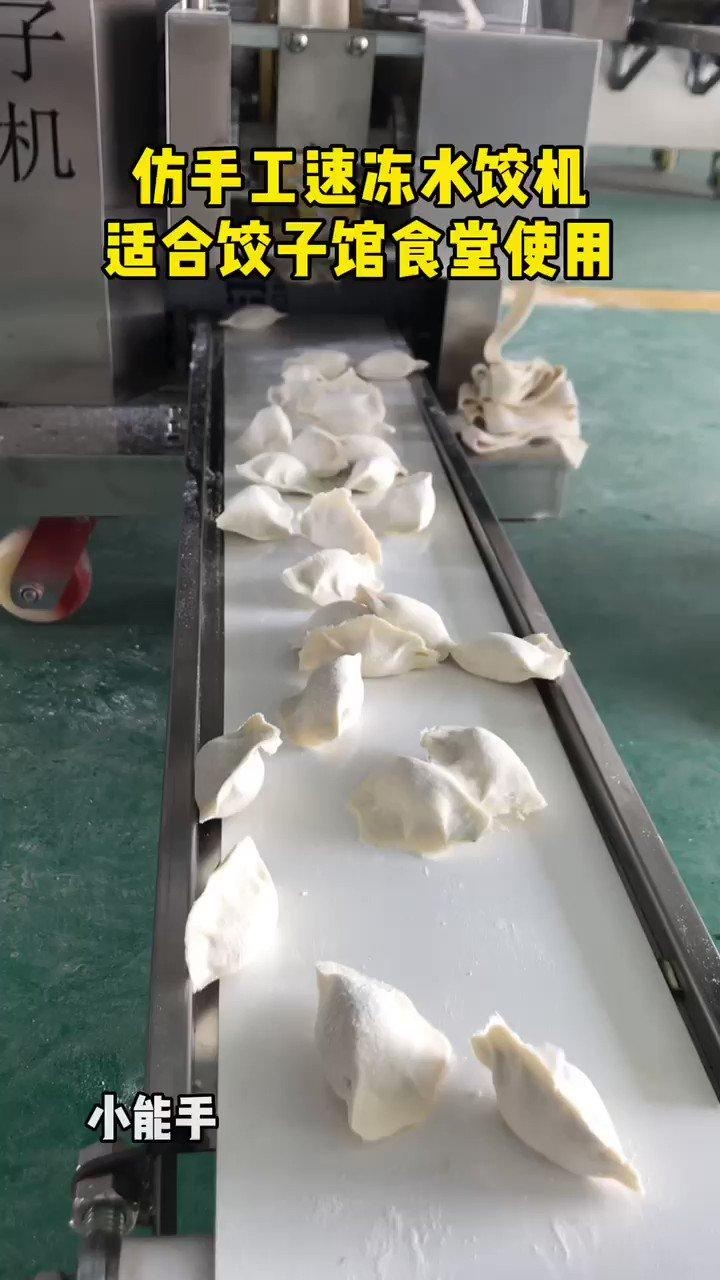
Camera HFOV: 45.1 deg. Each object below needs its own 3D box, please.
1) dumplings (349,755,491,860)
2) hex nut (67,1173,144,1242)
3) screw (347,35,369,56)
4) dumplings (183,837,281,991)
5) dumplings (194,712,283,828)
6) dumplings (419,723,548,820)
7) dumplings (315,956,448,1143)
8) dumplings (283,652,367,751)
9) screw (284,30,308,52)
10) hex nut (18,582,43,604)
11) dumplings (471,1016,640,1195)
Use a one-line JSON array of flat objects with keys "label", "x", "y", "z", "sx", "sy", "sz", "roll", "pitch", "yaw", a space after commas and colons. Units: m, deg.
[{"label": "dumplings", "x": 0.035, "y": 0.119, "z": 0.652, "sx": 0.121, "sy": 0.047, "sz": 0.129, "roll": -1, "pitch": 8, "yaw": -7}, {"label": "hex nut", "x": -0.117, "y": 0.261, "z": 0.397, "sx": 0.020, "sy": 0.012, "sz": 0.030, "roll": 10, "pitch": -22, "yaw": 1}, {"label": "screw", "x": -0.005, "y": -0.756, "z": 1.105, "sx": 0.018, "sy": 0.020, "sz": 0.006, "roll": -10, "pitch": 8, "yaw": -15}, {"label": "dumplings", "x": -0.085, "y": 0.159, "z": 0.517, "sx": 0.051, "sy": 0.021, "sz": 0.100, "roll": 19, "pitch": 50, "yaw": -12}, {"label": "dumplings", "x": -0.082, "y": 0.098, "z": 0.664, "sx": 0.055, "sy": 0.079, "sz": 0.025, "roll": 21, "pitch": -12, "yaw": 49}, {"label": "dumplings", "x": 0.094, "y": 0.099, "z": 0.654, "sx": 0.065, "sy": 0.024, "sz": 0.074, "roll": -14, "pitch": 64, "yaw": -40}, {"label": "dumplings", "x": 0.008, "y": 0.204, "z": 0.463, "sx": 0.067, "sy": 0.026, "sz": 0.117, "roll": -10, "pitch": 19, "yaw": -20}, {"label": "dumplings", "x": -0.023, "y": 0.059, "z": 0.755, "sx": 0.057, "sy": 0.080, "sz": 0.040, "roll": 24, "pitch": -5, "yaw": 27}, {"label": "screw", "x": -0.081, "y": -0.750, "z": 1.090, "sx": 0.015, "sy": 0.021, "sz": 0.017, "roll": -4, "pitch": -10, "yaw": 12}, {"label": "hex nut", "x": -0.482, "y": -0.068, "z": 1.280, "sx": 0.024, "sy": 0.028, "sz": 0.018, "roll": -7, "pitch": 20, "yaw": -4}, {"label": "dumplings", "x": 0.094, "y": 0.227, "z": 0.441, "sx": 0.075, "sy": 0.028, "sz": 0.045, "roll": 45, "pitch": 34, "yaw": 21}]
